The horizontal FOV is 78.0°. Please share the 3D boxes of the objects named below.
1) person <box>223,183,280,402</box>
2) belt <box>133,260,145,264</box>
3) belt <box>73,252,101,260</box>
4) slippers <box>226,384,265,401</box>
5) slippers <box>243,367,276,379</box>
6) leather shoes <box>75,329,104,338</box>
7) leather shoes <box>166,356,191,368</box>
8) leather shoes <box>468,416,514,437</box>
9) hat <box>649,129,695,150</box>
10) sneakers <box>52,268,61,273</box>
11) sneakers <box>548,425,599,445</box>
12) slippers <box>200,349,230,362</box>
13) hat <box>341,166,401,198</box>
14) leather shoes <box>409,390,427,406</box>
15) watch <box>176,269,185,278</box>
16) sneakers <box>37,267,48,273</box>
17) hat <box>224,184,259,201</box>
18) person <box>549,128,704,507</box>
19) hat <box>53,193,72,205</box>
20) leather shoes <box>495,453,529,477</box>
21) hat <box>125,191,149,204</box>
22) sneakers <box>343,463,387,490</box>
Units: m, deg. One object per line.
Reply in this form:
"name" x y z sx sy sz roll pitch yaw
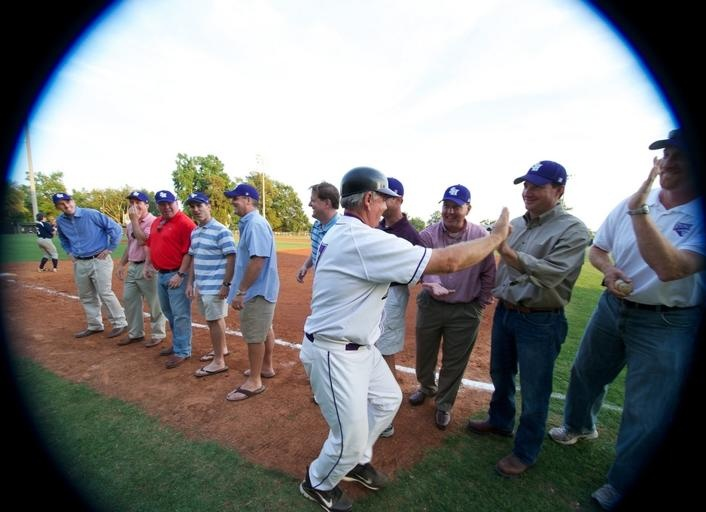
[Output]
"person" -1.291 0.432 5.717 0.638 2.715 0.776 -1 9 -12
"belt" -3.413 0.104 7.005 0.184 0.078 0.056 2 8 6
"belt" -4.397 0.016 7.250 0.417 0.137 0.093 1 8 -1
"slippers" -1.364 1.760 5.584 0.173 0.077 0.331 5 2 43
"slippers" -1.302 1.675 6.143 0.414 0.172 0.208 15 -11 -11
"leather shoes" -4.398 1.306 7.322 0.384 0.149 0.126 5 -8 -33
"leather shoes" -2.538 1.549 6.362 0.119 0.132 0.315 -7 -10 24
"leather shoes" 1.609 2.015 5.090 0.438 0.185 0.215 8 -2 8
"hat" 2.882 -1.063 3.969 0.259 0.195 0.225 5 9 29
"sneakers" -9.325 0.436 13.725 0.109 0.178 0.263 3 7 7
"sneakers" 2.536 2.023 5.047 0.531 0.252 0.209 4 -1 -3
"slippers" -2.097 1.512 6.618 0.331 0.086 0.177 3 -2 -41
"hat" 0.191 -0.701 4.327 0.588 0.301 0.462 -2 -2 3
"leather shoes" 0.841 1.827 5.597 0.105 0.124 0.302 14 -14 40
"watch" -2.451 0.267 6.263 0.102 0.111 0.072 11 14 32
"sneakers" -9.574 0.437 13.531 0.338 0.147 0.131 4 10 32
"hat" -1.495 -0.861 5.928 0.409 0.221 0.254 4 4 -22
"person" 2.782 0.604 4.366 0.875 3.596 0.970 -5 10 -32
"hat" -4.763 -0.940 7.182 0.252 0.203 0.269 -5 10 -34
"leather shoes" 1.665 2.187 4.568 0.330 0.130 0.158 5 8 -22
"hat" -3.483 -0.950 7.094 0.194 0.142 0.283 5 -3 10
"sneakers" 0.106 2.232 4.552 0.490 0.225 0.195 5 8 17
